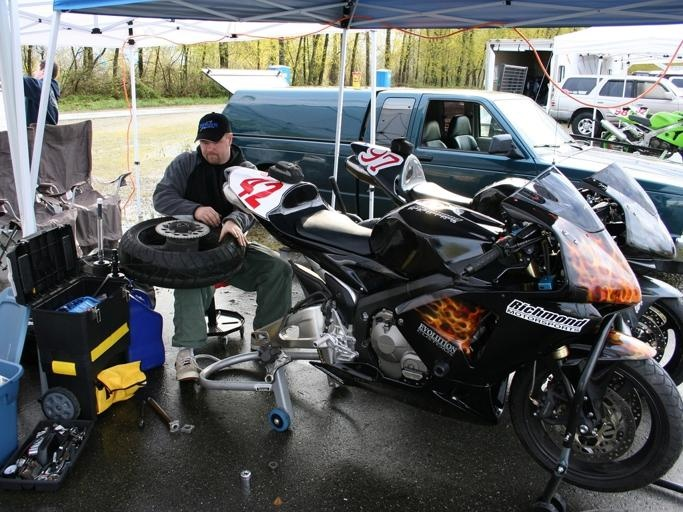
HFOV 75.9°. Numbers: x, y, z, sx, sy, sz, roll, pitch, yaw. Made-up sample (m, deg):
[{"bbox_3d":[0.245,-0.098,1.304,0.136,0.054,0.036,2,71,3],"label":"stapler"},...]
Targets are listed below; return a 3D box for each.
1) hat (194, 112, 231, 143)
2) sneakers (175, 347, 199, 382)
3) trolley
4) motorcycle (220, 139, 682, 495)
[{"bbox_3d":[-1.059,-1.058,3.607,0.242,0.159,0.299,3,25,6],"label":"hat"},{"bbox_3d":[-1.200,0.838,3.391,0.145,0.131,0.392,-3,7,-18],"label":"sneakers"},{"bbox_3d":[-1.820,0.461,2.974,0.612,1.228,0.738,8,22,11],"label":"trolley"},{"bbox_3d":[0.647,0.337,2.507,2.310,1.616,0.747,17,26,34],"label":"motorcycle"}]
